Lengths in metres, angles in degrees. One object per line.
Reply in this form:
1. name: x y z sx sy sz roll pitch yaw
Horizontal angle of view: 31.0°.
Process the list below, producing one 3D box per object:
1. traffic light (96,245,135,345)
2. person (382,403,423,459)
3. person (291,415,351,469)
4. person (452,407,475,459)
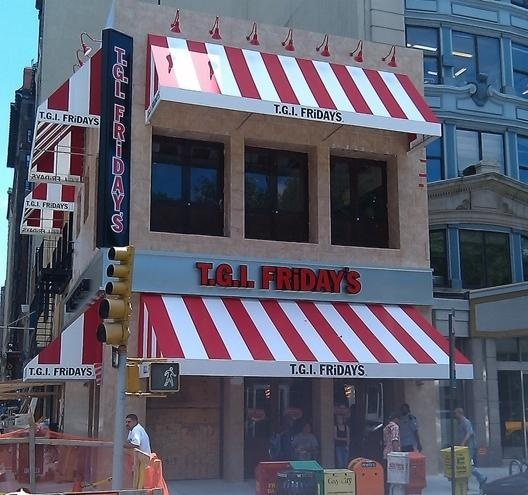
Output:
1. traffic light: -2.747 0.881 17.694 0.610 1.858 0.610 -1 -10 6
2. person: 3.423 4.532 23.474 0.772 1.360 2.392 -2 -12 16
3. person: 1.341 5.020 24.050 1.713 1.111 1.162 11 -15 -40
4. person: 5.096 4.707 24.008 0.490 1.241 1.738 -2 -12 11
